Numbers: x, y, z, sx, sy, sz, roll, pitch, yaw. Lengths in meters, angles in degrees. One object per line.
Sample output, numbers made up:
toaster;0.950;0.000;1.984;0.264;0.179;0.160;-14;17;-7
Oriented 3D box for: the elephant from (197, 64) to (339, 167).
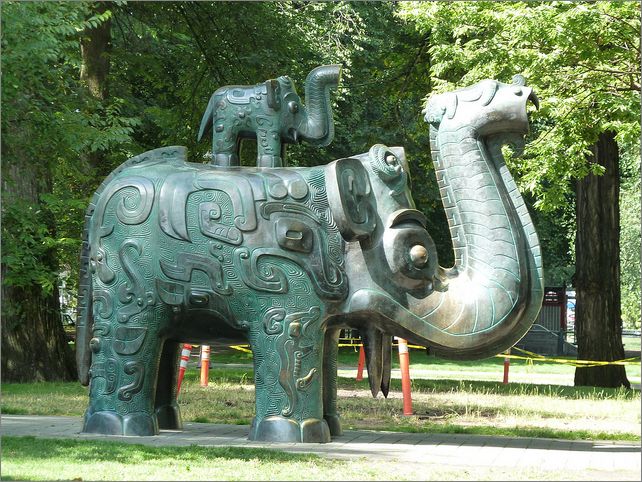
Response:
elephant;-0.669;-1.674;14.968;1.897;1.201;0.862;2;9;17
